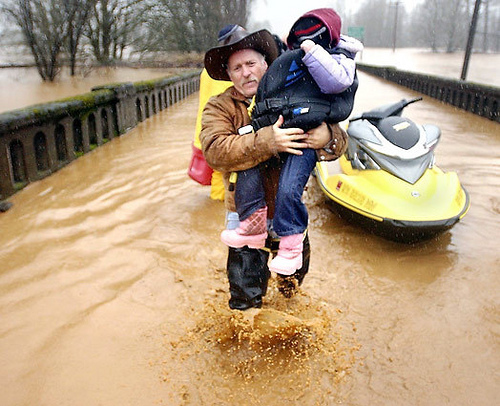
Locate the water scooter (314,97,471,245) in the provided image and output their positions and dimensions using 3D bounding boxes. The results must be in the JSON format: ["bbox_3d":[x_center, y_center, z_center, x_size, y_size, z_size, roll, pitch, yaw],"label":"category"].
[{"bbox_3d":[1.629,-0.471,5.492,1.131,1.157,2.476,-9,23,-1],"label":"water scooter"}]

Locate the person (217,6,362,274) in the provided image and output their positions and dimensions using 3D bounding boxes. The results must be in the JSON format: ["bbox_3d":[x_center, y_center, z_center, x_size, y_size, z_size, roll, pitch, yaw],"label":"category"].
[{"bbox_3d":[0.319,-0.322,3.238,0.759,2.116,0.887,10,24,25],"label":"person"}]

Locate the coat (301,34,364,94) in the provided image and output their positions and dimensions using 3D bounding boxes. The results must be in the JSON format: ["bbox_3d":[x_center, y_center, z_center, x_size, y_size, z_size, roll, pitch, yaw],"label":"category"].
[{"bbox_3d":[0.594,-0.968,3.040,0.309,0.391,0.557,19,30,39],"label":"coat"}]

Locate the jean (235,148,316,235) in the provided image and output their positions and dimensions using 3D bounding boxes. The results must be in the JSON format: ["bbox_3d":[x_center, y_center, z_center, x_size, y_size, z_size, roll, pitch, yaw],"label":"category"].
[{"bbox_3d":[0.200,-0.102,3.270,0.432,0.714,0.723,15,26,15],"label":"jean"}]
